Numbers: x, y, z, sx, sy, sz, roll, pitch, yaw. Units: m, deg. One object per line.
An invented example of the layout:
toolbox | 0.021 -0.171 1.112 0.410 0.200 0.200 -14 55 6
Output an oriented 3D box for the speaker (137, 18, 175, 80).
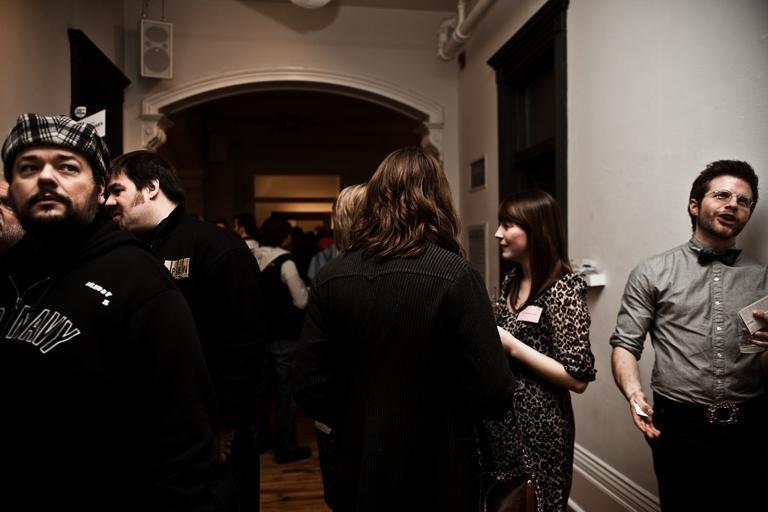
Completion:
speaker | -2.136 -1.926 5.622 0.288 0.545 0.183 1 -8 -28

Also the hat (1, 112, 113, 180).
hat | -1.297 -0.406 2.383 0.272 0.170 0.329 3 -12 -15
